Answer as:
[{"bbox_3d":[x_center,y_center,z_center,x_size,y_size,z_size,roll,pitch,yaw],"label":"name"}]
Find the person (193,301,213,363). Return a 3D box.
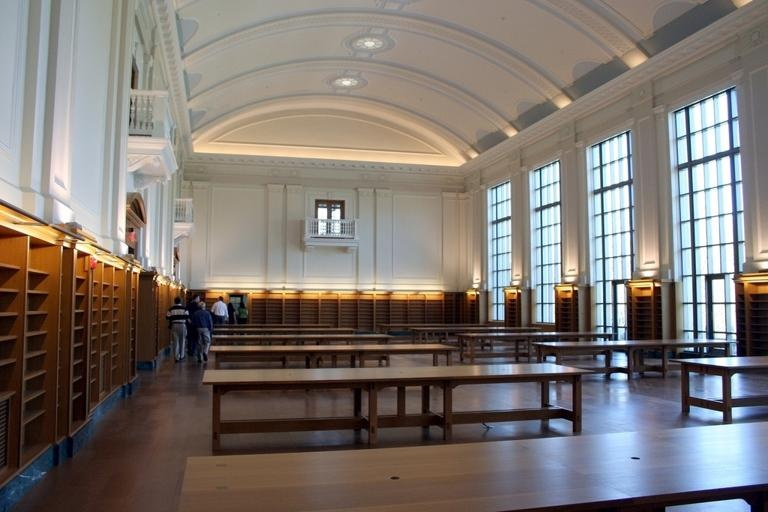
[{"bbox_3d":[-4.680,1.928,13.243,0.456,1.542,1.025,-1,-9,-20],"label":"person"}]

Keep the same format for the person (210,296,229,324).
[{"bbox_3d":[-5.655,1.865,17.714,0.459,0.953,1.443,-1,-8,-19],"label":"person"}]

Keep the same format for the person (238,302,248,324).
[{"bbox_3d":[-6.108,2.452,22.241,0.442,0.826,0.669,-2,-9,-15],"label":"person"}]

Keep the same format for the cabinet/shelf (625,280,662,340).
[{"bbox_3d":[7.308,1.491,14.684,0.391,1.671,1.385,-2,-8,-12],"label":"cabinet/shelf"}]
